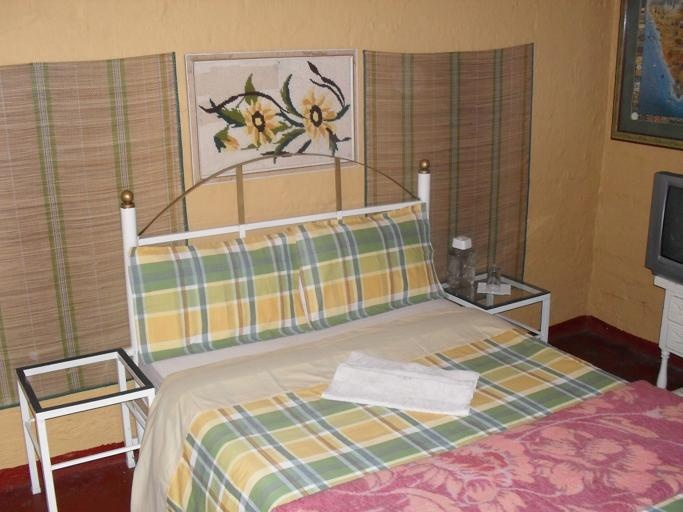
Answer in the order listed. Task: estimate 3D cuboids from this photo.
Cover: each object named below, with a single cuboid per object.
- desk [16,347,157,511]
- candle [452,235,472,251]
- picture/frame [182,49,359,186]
[{"bbox_3d":[-1.246,0.836,2.787,0.518,0.609,0.469,-17,39,-30],"label":"desk"},{"bbox_3d":[0.748,-0.086,3.551,0.095,0.069,0.096,9,14,39],"label":"candle"},{"bbox_3d":[-0.423,-0.776,3.147,0.824,0.543,0.019,-8,18,-25],"label":"picture/frame"}]
